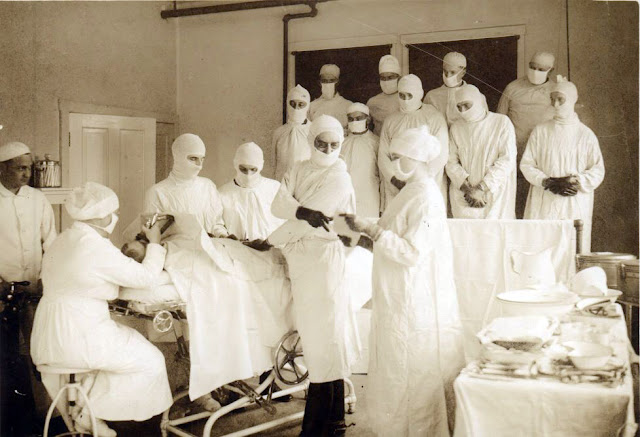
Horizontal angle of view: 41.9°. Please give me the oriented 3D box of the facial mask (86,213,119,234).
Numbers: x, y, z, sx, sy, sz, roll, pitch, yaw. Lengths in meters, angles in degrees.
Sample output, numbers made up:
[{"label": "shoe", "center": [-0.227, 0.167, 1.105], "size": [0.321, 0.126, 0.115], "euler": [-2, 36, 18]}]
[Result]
[{"label": "facial mask", "center": [-1.344, 0.039, 5.238], "size": [0.144, 0.076, 0.130], "euler": [0, 17, -4]}]

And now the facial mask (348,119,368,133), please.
[{"label": "facial mask", "center": [0.286, -0.728, 6.557], "size": [0.116, 0.077, 0.110], "euler": [-1, 7, 17]}]

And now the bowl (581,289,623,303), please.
[{"label": "bowl", "center": [1.584, 0.444, 4.747], "size": [0.253, 0.051, 0.105], "euler": [-2, 3, -21]}]

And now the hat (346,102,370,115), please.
[{"label": "hat", "center": [0.291, -0.863, 6.507], "size": [0.111, 0.057, 0.109], "euler": [8, 12, 32]}]

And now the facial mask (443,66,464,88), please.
[{"label": "facial mask", "center": [0.969, -1.045, 6.139], "size": [0.110, 0.116, 0.082], "euler": [14, -30, 23]}]

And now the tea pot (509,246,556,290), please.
[{"label": "tea pot", "center": [1.299, 0.306, 5.140], "size": [0.328, 0.305, 0.238], "euler": [-7, 0, 9]}]

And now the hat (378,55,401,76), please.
[{"label": "hat", "center": [0.502, -1.135, 6.107], "size": [0.111, 0.106, 0.144], "euler": [-5, 3, 4]}]

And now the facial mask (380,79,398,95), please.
[{"label": "facial mask", "center": [0.516, -0.999, 6.299], "size": [0.128, 0.102, 0.136], "euler": [-1, 3, 6]}]

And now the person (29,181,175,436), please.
[{"label": "person", "center": [-1.362, 0.575, 5.186], "size": [0.833, 1.588, 0.319], "euler": [-2, 4, -10]}]

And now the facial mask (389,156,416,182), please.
[{"label": "facial mask", "center": [0.476, -0.300, 5.043], "size": [0.134, 0.131, 0.156], "euler": [5, -12, -25]}]

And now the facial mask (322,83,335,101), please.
[{"label": "facial mask", "center": [0.061, -0.977, 6.392], "size": [0.095, 0.077, 0.091], "euler": [1, 28, 3]}]

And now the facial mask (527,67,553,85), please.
[{"label": "facial mask", "center": [1.564, -1.022, 6.013], "size": [0.109, 0.086, 0.109], "euler": [30, 49, 27]}]

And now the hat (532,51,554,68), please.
[{"label": "hat", "center": [1.558, -1.133, 5.893], "size": [0.101, 0.100, 0.131], "euler": [20, 23, 8]}]

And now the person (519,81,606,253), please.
[{"label": "person", "center": [1.703, -0.497, 5.927], "size": [0.223, 1.026, 0.616], "euler": [-3, 4, -26]}]

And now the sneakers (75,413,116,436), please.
[{"label": "sneakers", "center": [-1.397, 1.286, 5.167], "size": [0.254, 0.148, 0.084], "euler": [21, 18, -15]}]

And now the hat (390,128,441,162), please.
[{"label": "hat", "center": [0.561, -0.434, 4.998], "size": [0.280, 0.189, 0.193], "euler": [2, 1, -30]}]

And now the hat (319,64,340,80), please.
[{"label": "hat", "center": [0.064, -1.100, 6.256], "size": [0.099, 0.118, 0.091], "euler": [4, 47, 10]}]

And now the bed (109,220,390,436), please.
[{"label": "bed", "center": [-0.534, 0.580, 5.902], "size": [1.340, 1.378, 2.107], "euler": [-1, -2, 44]}]

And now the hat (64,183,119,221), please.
[{"label": "hat", "center": [-1.396, -0.091, 5.213], "size": [0.307, 0.186, 0.210], "euler": [-16, 44, -7]}]

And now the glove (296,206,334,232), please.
[{"label": "glove", "center": [-0.041, 0.008, 5.321], "size": [0.233, 0.164, 0.066], "euler": [-1, 4, 1]}]
